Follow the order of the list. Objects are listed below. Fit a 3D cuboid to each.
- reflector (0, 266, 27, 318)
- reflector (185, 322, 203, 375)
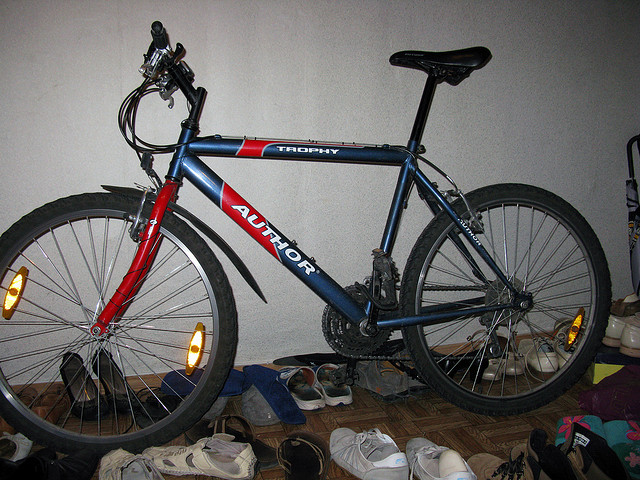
[{"bbox_3d":[-1.164,0.195,1.890,0.046,0.196,0.084,20,-38,-33],"label":"reflector"},{"bbox_3d":[-0.483,0.416,1.920,0.064,0.023,0.236,11,-74,-22],"label":"reflector"}]
